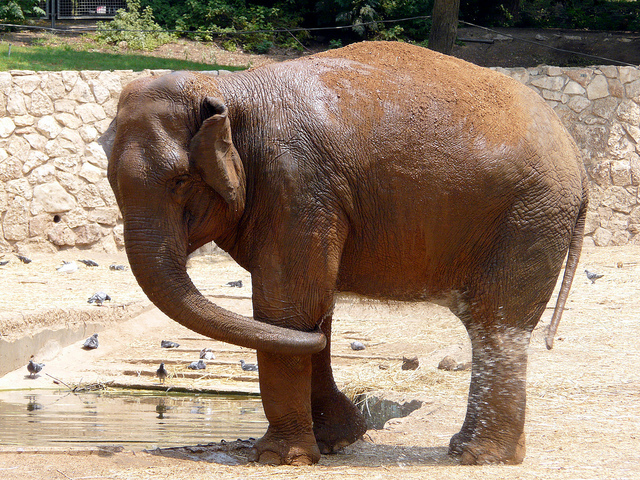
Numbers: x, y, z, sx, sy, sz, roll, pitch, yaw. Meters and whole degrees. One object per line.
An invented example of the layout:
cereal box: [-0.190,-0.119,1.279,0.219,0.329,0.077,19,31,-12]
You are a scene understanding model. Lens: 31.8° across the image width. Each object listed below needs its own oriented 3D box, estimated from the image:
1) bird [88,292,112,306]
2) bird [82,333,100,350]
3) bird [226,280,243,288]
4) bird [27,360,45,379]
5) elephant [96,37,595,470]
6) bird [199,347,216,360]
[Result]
bird: [-2.750,0.735,13.982,0.264,0.137,0.124,12,12,-23]
bird: [-2.669,1.191,13.054,0.197,0.127,0.140,-7,-10,36]
bird: [-1.203,0.626,15.784,0.260,0.108,0.085,6,7,-12]
bird: [-3.107,1.400,12.165,0.140,0.183,0.164,-3,20,-15]
elephant: [0.284,0.220,10.342,4.113,3.942,2.287,0,20,-6]
bird: [-1.287,1.312,12.780,0.109,0.075,0.151,0,10,-39]
